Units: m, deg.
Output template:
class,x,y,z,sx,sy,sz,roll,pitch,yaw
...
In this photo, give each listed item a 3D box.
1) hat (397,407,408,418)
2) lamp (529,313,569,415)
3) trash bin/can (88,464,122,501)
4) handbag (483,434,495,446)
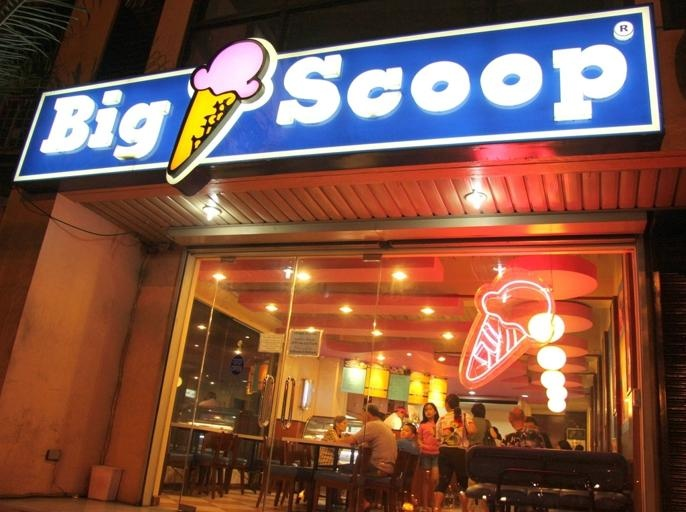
class,x,y,z,sx,sy,sz,roll,pitch,yaw
hat,0.645,1.699,6.504,0.121,0.109,0.086,6,-22,0
lamp,2.231,1.138,6.531,0.385,1.131,0.374,8,-16,-23
trash bin/can,-2.692,2.587,6.785,0.347,0.333,0.202,6,-15,4
handbag,1.524,1.924,6.282,0.107,0.091,0.100,2,-26,1
